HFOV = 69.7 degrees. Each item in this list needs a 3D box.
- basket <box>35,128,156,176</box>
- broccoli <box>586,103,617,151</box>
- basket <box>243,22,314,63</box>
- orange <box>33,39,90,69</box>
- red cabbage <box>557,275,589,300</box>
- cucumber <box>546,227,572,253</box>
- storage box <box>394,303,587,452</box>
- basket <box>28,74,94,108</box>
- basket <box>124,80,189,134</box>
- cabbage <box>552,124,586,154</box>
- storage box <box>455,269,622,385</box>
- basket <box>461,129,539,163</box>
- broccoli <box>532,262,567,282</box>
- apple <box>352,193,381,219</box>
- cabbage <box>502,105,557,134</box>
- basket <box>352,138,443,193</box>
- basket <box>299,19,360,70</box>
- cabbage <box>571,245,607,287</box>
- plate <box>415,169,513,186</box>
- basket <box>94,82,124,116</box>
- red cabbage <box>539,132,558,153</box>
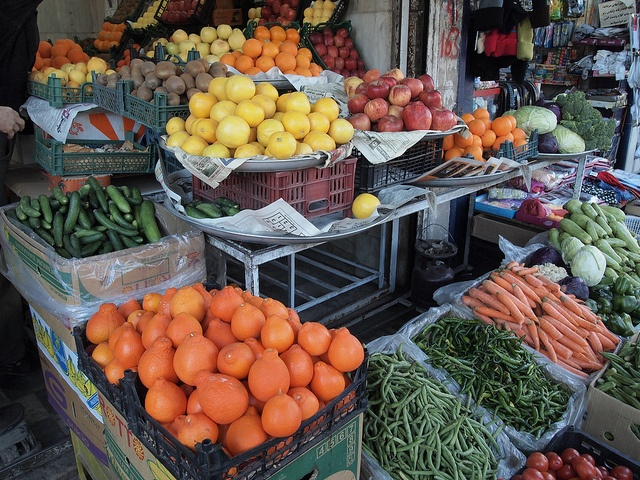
[{"bbox_3d":[-1.744,-0.588,3.630,0.720,0.248,0.553,-9,29,-29],"label":"basket"},{"bbox_3d":[2.839,-1.078,4.651,0.162,0.453,0.616,18,33,37],"label":"broccoli"},{"bbox_3d":[-0.358,-1.684,3.844,0.479,0.207,0.505,-11,64,-24],"label":"basket"},{"bbox_3d":[-2.316,-1.600,4.079,0.403,0.152,0.411,28,47,22],"label":"orange"},{"bbox_3d":[1.816,0.344,3.279,0.207,0.125,0.172,4,62,-46],"label":"red cabbage"},{"bbox_3d":[1.920,-0.001,3.744,0.097,0.063,0.190,29,66,14],"label":"cucumber"},{"bbox_3d":[1.029,0.857,2.911,0.911,0.335,0.658,44,48,18],"label":"storage box"},{"bbox_3d":[-2.065,-1.174,3.631,0.285,0.161,0.464,-18,34,-39],"label":"basket"},{"bbox_3d":[-1.092,-0.843,3.070,0.296,0.221,0.489,-19,36,-37],"label":"basket"},{"bbox_3d":[2.262,-0.893,4.203,0.256,0.211,0.376,20,34,39],"label":"cabbage"},{"bbox_3d":[1.449,0.592,3.102,0.792,0.240,0.581,38,54,27],"label":"storage box"},{"bbox_3d":[1.604,-0.716,3.888,0.588,0.207,0.383,-22,30,-31],"label":"basket"},{"bbox_3d":[1.732,0.273,3.472,0.186,0.093,0.153,-3,41,-27],"label":"broccoli"},{"bbox_3d":[0.258,-0.179,2.768,0.142,0.172,0.141,24,-10,-36],"label":"apple"},{"bbox_3d":[1.905,-1.013,4.134,0.302,0.174,0.307,5,26,-37],"label":"cabbage"},{"bbox_3d":[0.509,-0.495,3.097,0.597,0.258,0.360,-30,45,-31],"label":"basket"},{"bbox_3d":[0.078,-1.754,4.109,0.359,0.584,0.222,-27,5,-22],"label":"basket"},{"bbox_3d":[1.984,0.207,3.409,0.288,0.240,0.228,1,2,-2],"label":"cabbage"},{"bbox_3d":[0.979,-0.410,3.275,0.400,0.071,0.271,-10,13,-13],"label":"plate"},{"bbox_3d":[-1.534,-1.026,3.343,0.223,0.144,0.229,23,30,17],"label":"basket"},{"bbox_3d":[2.037,-0.842,4.108,0.208,0.168,0.159,2,26,10],"label":"red cabbage"}]
